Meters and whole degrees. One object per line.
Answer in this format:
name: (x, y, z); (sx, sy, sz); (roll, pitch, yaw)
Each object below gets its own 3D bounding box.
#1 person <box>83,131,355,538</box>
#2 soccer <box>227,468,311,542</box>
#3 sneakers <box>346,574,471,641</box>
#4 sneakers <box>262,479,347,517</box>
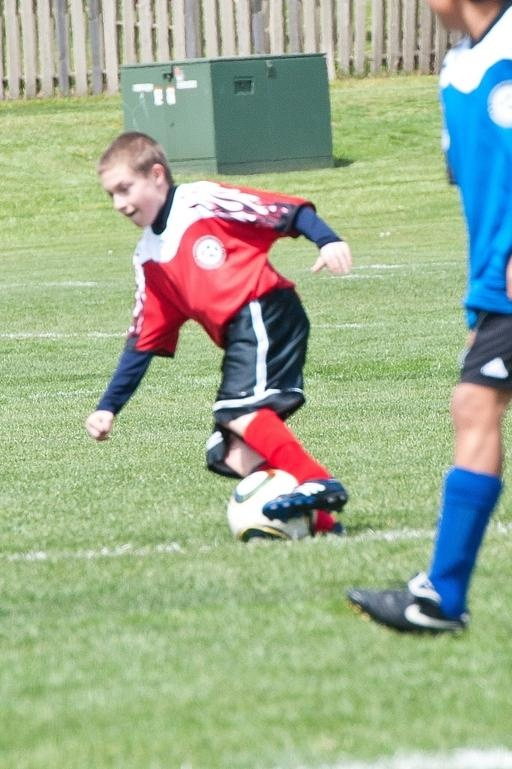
person: (-0.055, -0.142, 3.083); (0.896, 0.524, 1.185); (-14, 71, 23)
soccer: (0.001, 0.330, 3.061); (0.167, 0.192, 0.183); (28, 60, 34)
sneakers: (0.312, 0.454, 2.221); (0.263, 0.084, 0.112); (9, 56, 24)
sneakers: (0.142, 0.319, 2.924); (0.264, 0.085, 0.117); (-7, 35, 2)
